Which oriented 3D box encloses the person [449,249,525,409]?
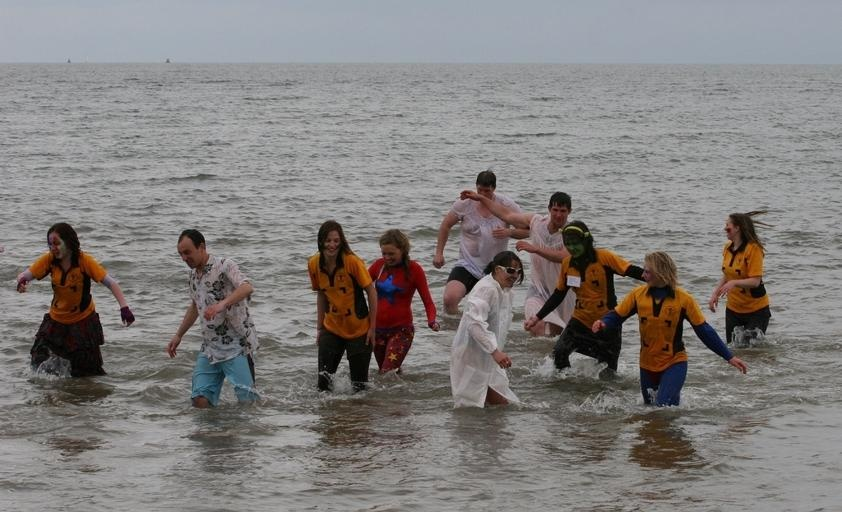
[{"bbox_3d":[1.345,1.569,26.701,1.421,3.309,1.079,1,10,0],"label":"person"}]
